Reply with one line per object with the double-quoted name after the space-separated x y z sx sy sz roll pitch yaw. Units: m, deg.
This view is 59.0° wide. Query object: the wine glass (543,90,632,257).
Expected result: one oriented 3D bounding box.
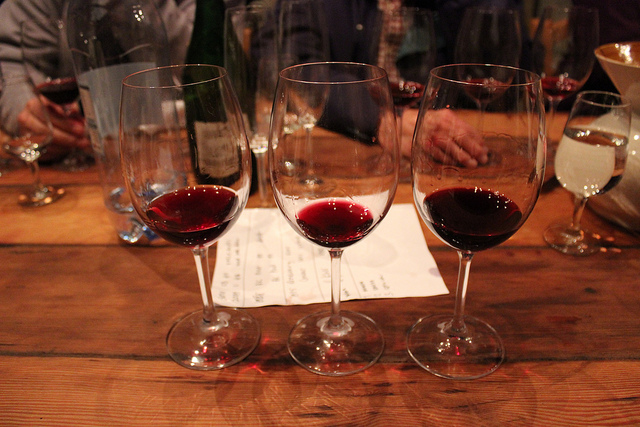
0.501 -0.079 1.065 0.119 0.256 0.212 13 33 22 "wine glass"
